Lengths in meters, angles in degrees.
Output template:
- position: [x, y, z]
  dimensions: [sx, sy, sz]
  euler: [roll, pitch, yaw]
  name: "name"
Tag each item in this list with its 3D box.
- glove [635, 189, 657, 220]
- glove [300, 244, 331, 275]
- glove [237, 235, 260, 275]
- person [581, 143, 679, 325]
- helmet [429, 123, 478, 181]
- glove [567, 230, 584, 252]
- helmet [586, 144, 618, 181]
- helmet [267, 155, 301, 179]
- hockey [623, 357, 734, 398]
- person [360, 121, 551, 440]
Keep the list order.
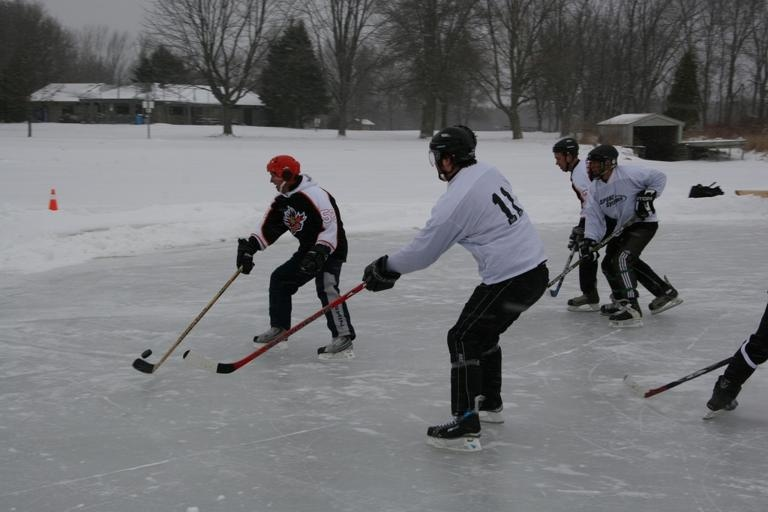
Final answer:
- position: [2.882, -0.537, 9.771]
  dimensions: [0.286, 0.273, 0.108]
  euler: [-1, 4, 6]
  name: "glove"
- position: [-0.682, 0.048, 8.609]
  dimensions: [0.221, 0.340, 0.112]
  euler: [39, -32, 5]
  name: "glove"
- position: [-1.396, 0.008, 8.968]
  dimensions: [0.176, 0.333, 0.368]
  euler: [26, -33, -14]
  name: "glove"
- position: [2.734, -0.218, 9.865]
  dimensions: [1.051, 1.934, 0.627]
  euler: [3, 12, 12]
  name: "person"
- position: [0.581, -0.899, 7.662]
  dimensions: [0.595, 0.470, 0.431]
  euler: [4, 16, 10]
  name: "helmet"
- position: [2.232, -0.164, 10.450]
  dimensions: [0.104, 0.211, 0.169]
  euler: [18, 18, -32]
  name: "glove"
- position: [2.416, -1.014, 9.957]
  dimensions: [0.517, 0.366, 0.354]
  euler: [4, 8, 4]
  name: "helmet"
- position: [-1.002, -0.856, 8.782]
  dimensions: [0.367, 0.174, 0.226]
  euler: [3, 18, -10]
  name: "helmet"
- position: [2.720, 1.057, 8.145]
  dimensions: [1.403, 0.347, 0.083]
  euler: [-5, -33, -28]
  name: "hockey"
- position: [0.682, 0.280, 7.490]
  dimensions: [1.380, 2.668, 0.557]
  euler: [2, 12, 7]
  name: "person"
